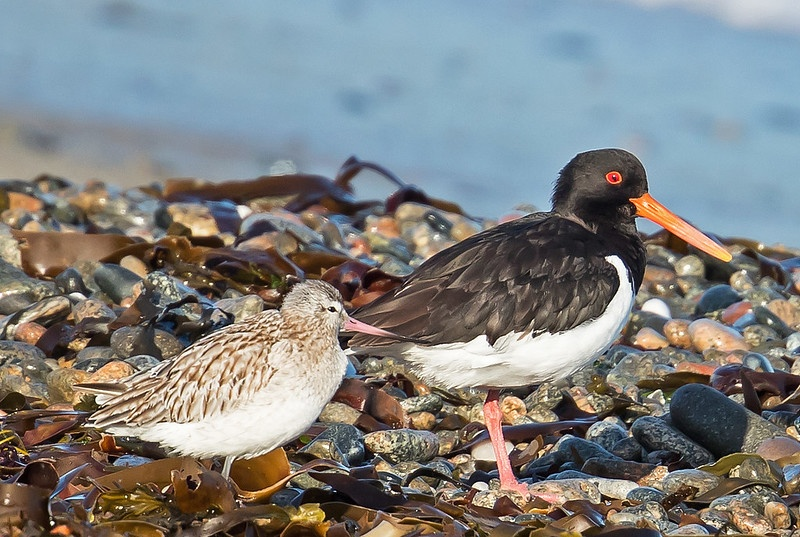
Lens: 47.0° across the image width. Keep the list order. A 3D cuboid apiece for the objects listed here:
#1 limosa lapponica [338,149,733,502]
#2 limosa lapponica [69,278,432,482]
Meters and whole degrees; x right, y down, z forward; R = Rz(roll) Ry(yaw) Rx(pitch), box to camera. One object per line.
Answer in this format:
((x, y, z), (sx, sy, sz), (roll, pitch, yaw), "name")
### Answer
((0.965, 0.240, 6.969), (2.039, 2.667, 1.095), (17, 7, -36), "limosa lapponica")
((-1.077, 0.690, 6.399), (1.350, 1.305, 2.808), (2, 0, 0), "limosa lapponica")
